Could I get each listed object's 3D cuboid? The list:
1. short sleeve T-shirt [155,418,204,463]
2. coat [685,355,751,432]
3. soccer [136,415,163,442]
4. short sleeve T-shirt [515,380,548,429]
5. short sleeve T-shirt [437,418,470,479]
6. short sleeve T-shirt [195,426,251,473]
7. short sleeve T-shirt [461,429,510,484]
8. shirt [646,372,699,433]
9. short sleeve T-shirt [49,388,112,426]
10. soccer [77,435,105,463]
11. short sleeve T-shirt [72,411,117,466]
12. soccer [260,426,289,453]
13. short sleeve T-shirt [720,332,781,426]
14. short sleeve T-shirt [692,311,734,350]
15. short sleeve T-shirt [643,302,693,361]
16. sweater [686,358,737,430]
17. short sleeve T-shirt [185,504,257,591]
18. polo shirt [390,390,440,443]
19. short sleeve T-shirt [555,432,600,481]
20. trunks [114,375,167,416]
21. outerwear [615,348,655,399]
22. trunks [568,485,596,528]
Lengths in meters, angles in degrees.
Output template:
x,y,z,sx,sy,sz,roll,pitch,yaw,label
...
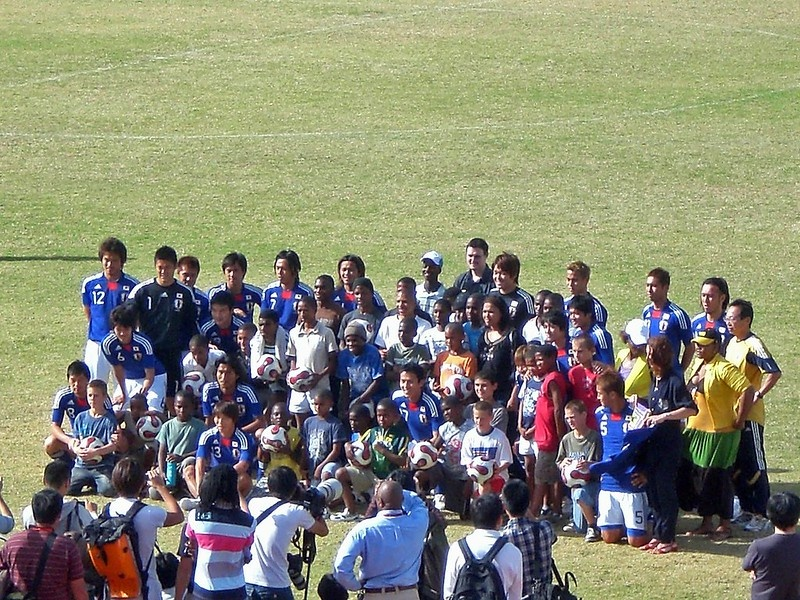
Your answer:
x,y,z,sx,sy,sz,roll,pitch,yaw,label
-3.641,2.252,32.820,0.533,0.540,0.324,21,-10,5,short sleeve T-shirt
5.173,1.478,31.848,0.573,1.013,1.107,6,0,-35,coat
-4.183,2.069,33.033,0.386,0.390,0.387,-4,20,-16,soccer
2.160,1.598,32.647,0.177,0.691,0.534,13,-5,-41,short sleeve T-shirt
0.908,2.393,32.527,0.748,0.880,0.539,6,-18,7,short sleeve T-shirt
-2.811,2.310,32.059,1.021,0.826,0.595,1,-1,-2,short sleeve T-shirt
1.421,2.456,32.167,0.818,0.907,0.382,-2,-6,11,short sleeve T-shirt
4.369,1.582,31.566,0.424,0.847,0.796,15,-18,-36,shirt
-5.331,1.713,33.110,0.731,0.505,0.248,0,3,1,short sleeve T-shirt
-5.179,2.323,32.922,0.431,0.437,0.418,-18,12,1,soccer
-5.067,2.225,32.854,0.828,1.047,0.605,2,3,7,short sleeve T-shirt
-2.062,2.194,32.483,0.406,0.372,0.342,12,-4,-27,soccer
5.751,1.270,32.466,0.702,1.676,1.498,2,-6,-11,short sleeve T-shirt
5.219,0.451,32.612,0.477,0.466,0.258,18,-17,22,short sleeve T-shirt
4.483,0.484,33.020,0.721,0.961,0.370,-20,4,44,short sleeve T-shirt
5.072,1.479,31.838,0.592,1.080,1.063,4,1,-28,sweater
-2.691,3.602,29.420,1.163,1.158,0.644,1,9,-3,short sleeve T-shirt
0.265,1.889,32.819,0.734,0.614,0.260,8,15,19,polo shirt
2.933,2.496,32.109,0.883,0.691,0.460,-2,-7,20,short sleeve T-shirt
-4.453,1.522,33.768,0.899,0.604,1.008,-1,3,-7,trunks
3.883,1.156,32.258,0.472,0.868,0.729,-1,8,-41,outerwear
3.026,3.274,32.010,0.431,0.801,0.190,1,3,17,trunks
